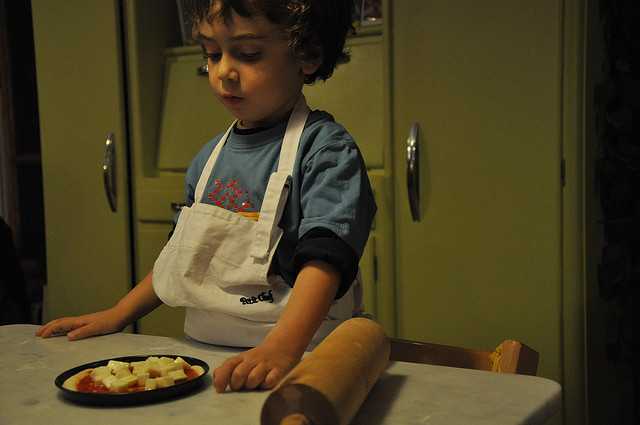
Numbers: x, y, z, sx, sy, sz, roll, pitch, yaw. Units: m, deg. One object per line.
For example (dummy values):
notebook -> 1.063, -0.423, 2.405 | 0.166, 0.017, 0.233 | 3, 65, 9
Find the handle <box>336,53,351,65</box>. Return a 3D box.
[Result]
handle -> 0.090, -0.587, 2.186 | 0.048, 0.041, 0.046 | 6, 5, 14

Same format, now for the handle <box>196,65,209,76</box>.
handle -> -0.495, -0.593, 2.416 | 0.071, 0.035, 0.102 | -1, 7, -7

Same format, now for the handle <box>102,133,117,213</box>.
handle -> -0.898, -0.169, 2.453 | 0.058, 0.339, 0.057 | -1, 8, -44

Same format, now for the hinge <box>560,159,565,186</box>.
hinge -> 0.811, -0.134, 1.925 | 0.021, 0.088, 0.006 | 7, 6, 23
